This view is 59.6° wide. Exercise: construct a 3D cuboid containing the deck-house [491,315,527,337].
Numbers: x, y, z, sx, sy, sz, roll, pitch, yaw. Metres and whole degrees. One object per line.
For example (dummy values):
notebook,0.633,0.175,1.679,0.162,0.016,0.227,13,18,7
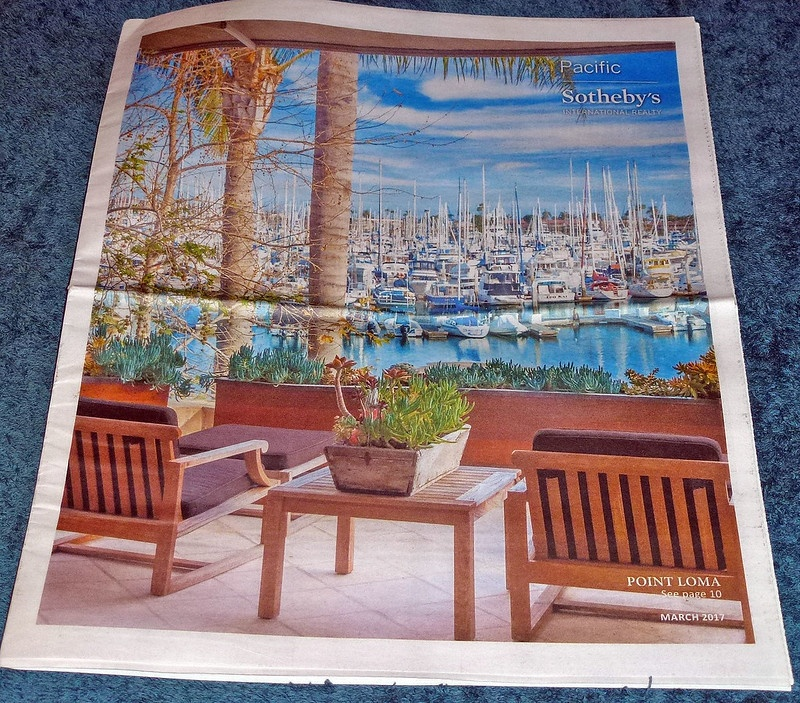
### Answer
deck-house,0.310,-0.075,1.969,0.066,0.037,0.094,-1,11,-6
